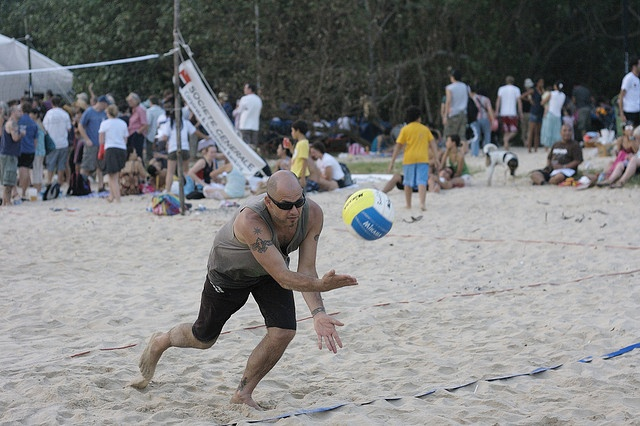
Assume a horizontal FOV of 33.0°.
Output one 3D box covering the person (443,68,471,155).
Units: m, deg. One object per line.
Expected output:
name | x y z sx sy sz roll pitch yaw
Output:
person | 3.345 -2.507 26.551 0.678 2.152 0.643 -6 24 -7

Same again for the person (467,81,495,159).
person | 4.166 -2.336 28.040 0.579 1.922 0.562 -2 4 11

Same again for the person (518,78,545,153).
person | 5.662 -2.574 28.244 0.591 2.044 0.833 4 2 42

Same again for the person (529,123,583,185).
person | 5.437 -1.278 24.226 1.297 1.532 1.119 -3 8 -20

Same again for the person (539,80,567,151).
person | 5.800 -2.391 27.204 0.491 1.909 0.618 12 9 38

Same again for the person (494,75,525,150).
person | 4.970 -2.643 28.330 0.600 1.922 0.866 0 8 -1

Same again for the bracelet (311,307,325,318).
bracelet | -0.033 1.602 17.535 0.223 0.163 0.121 0 8 0

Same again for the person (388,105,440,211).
person | 1.960 -1.146 22.794 0.885 2.196 0.535 0 8 -4

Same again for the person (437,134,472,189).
person | 3.056 -1.128 24.750 1.151 1.216 0.748 -9 7 -32

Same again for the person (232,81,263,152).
person | -1.771 -2.375 26.501 0.556 1.710 0.613 0 2 2
